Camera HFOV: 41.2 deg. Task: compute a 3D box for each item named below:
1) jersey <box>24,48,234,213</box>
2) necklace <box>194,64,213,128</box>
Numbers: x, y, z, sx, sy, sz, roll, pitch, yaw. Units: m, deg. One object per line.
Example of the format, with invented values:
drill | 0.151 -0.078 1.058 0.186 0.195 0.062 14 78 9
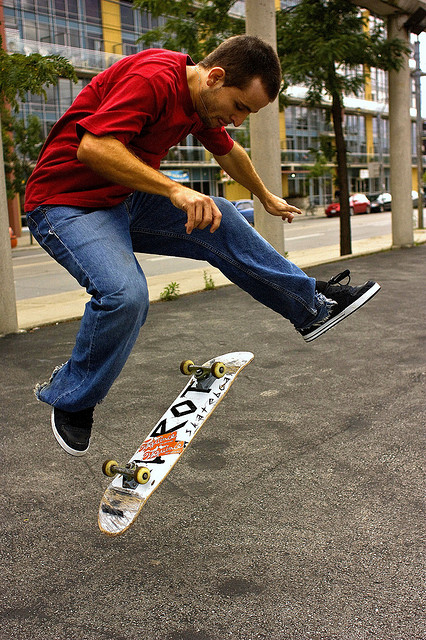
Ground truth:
jersey | -0.279 -0.749 2.409 0.697 0.787 0.562 12 18 -36
necklace | -0.040 -0.897 2.260 0.054 0.214 0.133 -1 10 8
